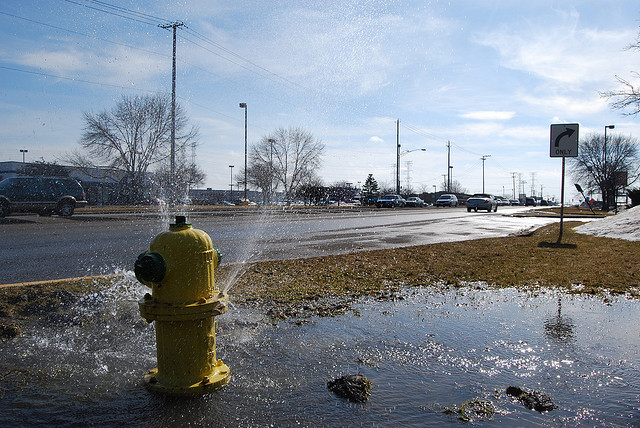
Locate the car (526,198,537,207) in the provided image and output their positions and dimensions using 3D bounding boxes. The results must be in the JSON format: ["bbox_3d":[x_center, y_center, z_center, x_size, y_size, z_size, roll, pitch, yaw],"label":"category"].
[{"bbox_3d":[31.753,-1.492,89.415,1.748,1.465,2.998,0,10,18],"label":"car"}]

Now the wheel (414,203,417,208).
[{"bbox_3d":[9.800,-0.747,61.687,0.189,0.444,0.449,2,-4,9],"label":"wheel"}]

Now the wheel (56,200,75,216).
[{"bbox_3d":[-11.061,-0.225,25.721,0.678,0.663,0.231,1,-5,-39],"label":"wheel"}]

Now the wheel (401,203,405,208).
[{"bbox_3d":[8.296,-0.787,59.737,0.153,0.468,0.473,2,8,23],"label":"wheel"}]

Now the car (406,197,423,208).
[{"bbox_3d":[9.867,-1.068,62.474,1.000,0.826,2.387,3,9,32],"label":"car"}]

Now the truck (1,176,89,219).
[{"bbox_3d":[-11.923,-0.697,25.505,1.590,1.431,3.503,-3,-4,41],"label":"truck"}]

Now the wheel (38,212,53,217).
[{"bbox_3d":[-11.909,0.041,25.657,0.574,0.221,0.394,-5,8,-41],"label":"wheel"}]

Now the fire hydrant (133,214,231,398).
[{"bbox_3d":[-1.736,1.146,7.539,1.157,2.191,0.745,-1,7,-11],"label":"fire hydrant"}]

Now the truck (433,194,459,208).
[{"bbox_3d":[13.404,-1.332,63.338,1.629,1.113,3.344,-4,-4,26],"label":"truck"}]

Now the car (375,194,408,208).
[{"bbox_3d":[7.048,-1.058,57.919,1.439,1.050,3.206,-2,-4,35],"label":"car"}]
